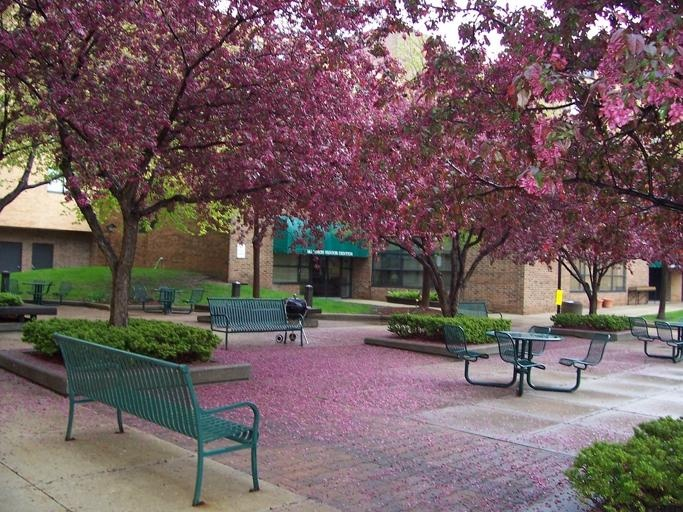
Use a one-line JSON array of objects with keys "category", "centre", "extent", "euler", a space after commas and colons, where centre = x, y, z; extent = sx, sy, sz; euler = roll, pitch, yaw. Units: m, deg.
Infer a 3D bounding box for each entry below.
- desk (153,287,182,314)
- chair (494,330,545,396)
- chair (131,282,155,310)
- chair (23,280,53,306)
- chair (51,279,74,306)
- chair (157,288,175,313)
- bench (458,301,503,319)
[{"category": "desk", "centre": [-7.269, 1.821, 25.555], "extent": [1.229, 1.344, 1.294], "euler": [-1, -2, 31]}, {"category": "chair", "centre": [3.402, 2.037, 12.084], "extent": [0.811, 1.079, 1.962], "euler": [3, 1, 15]}, {"category": "chair", "centre": [-8.589, 1.711, 26.234], "extent": [0.903, 1.018, 2.771], "euler": [2, 1, -17]}, {"category": "chair", "centre": [-12.428, 1.507, 24.881], "extent": [0.814, 0.965, 0.868], "euler": [0, 0, -29]}, {"category": "chair", "centre": [-12.311, 1.625, 26.826], "extent": [0.766, 1.234, 0.826], "euler": [6, 1, -1]}, {"category": "chair", "centre": [-7.340, 1.801, 25.454], "extent": [0.520, 1.013, 1.906], "euler": [2, 1, -17]}, {"category": "bench", "centre": [4.594, 1.823, 21.370], "extent": [0.946, 0.388, 2.182], "euler": [3, 1, 11]}]
